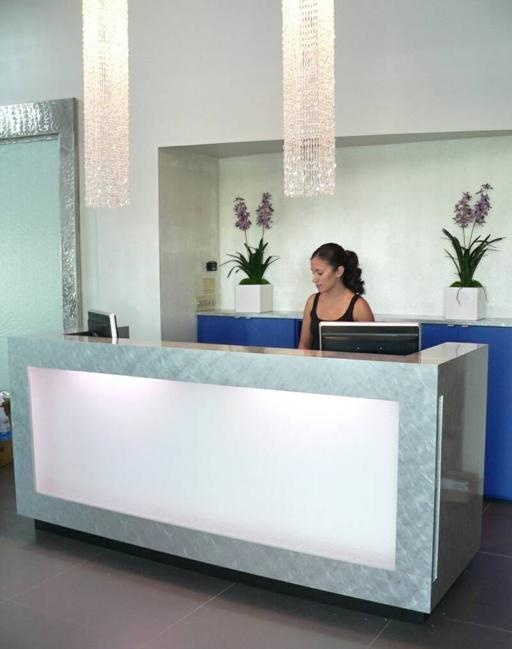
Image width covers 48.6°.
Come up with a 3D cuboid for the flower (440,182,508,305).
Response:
[{"bbox_3d":[1.502,-0.617,3.913,0.409,0.750,0.485,0,2,19],"label":"flower"}]

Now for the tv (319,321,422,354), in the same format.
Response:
[{"bbox_3d":[0.471,0.059,2.361,0.405,0.131,0.089,0,2,25],"label":"tv"}]

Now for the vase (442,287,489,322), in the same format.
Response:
[{"bbox_3d":[1.397,-0.137,3.763,0.220,0.213,0.234,-2,-1,14],"label":"vase"}]

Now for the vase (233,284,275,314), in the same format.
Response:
[{"bbox_3d":[-0.014,-0.215,4.669,0.246,0.254,0.264,-1,-1,-4],"label":"vase"}]

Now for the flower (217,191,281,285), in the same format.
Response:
[{"bbox_3d":[-0.092,-0.739,4.902,0.555,0.813,0.442,0,2,23],"label":"flower"}]
